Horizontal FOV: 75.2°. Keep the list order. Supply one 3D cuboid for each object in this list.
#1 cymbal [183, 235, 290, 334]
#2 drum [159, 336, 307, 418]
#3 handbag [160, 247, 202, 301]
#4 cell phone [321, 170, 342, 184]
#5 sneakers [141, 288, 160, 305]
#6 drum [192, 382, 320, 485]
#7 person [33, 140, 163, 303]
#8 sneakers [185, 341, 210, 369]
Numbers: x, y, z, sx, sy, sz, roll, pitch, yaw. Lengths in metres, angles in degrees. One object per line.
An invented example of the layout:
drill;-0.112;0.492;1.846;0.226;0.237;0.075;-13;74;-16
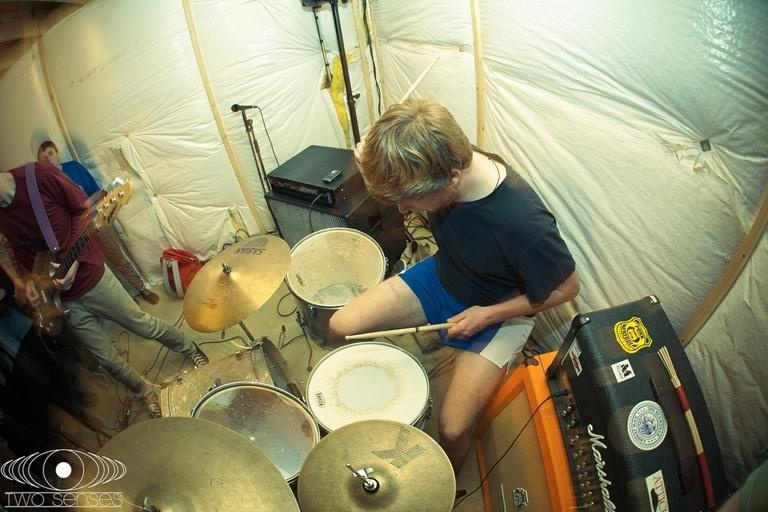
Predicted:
cymbal;-0.905;0.163;3.127;0.652;0.153;0.639;-45;54;-12
drum;-0.988;0.836;3.403;0.792;0.473;0.687;-16;26;-4
handbag;-1.634;0.148;3.980;0.342;0.407;0.251;5;29;19
cell phone;-0.394;-0.600;3.872;0.082;0.050;0.155;10;47;20
sneakers;-1.921;0.336;4.105;0.164;0.161;0.076;12;84;18
drum;-0.726;0.943;2.795;0.554;0.521;0.526;-4;53;-25
person;-2.149;-0.241;3.762;0.149;1.221;0.516;-42;32;-28
sneakers;-1.385;0.737;3.686;0.072;0.085;0.215;-38;87;14
